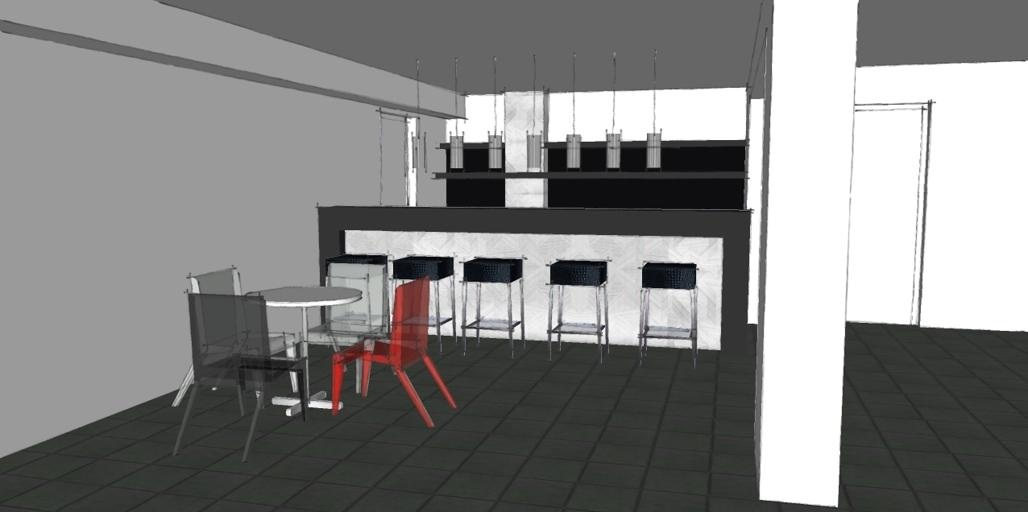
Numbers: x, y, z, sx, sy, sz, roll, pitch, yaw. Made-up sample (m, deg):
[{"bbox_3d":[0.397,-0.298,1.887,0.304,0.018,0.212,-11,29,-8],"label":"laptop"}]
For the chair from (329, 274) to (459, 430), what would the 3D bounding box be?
[{"bbox_3d":[-1.274,0.988,7.331,1.114,1.521,0.841,1,7,22],"label":"chair"}]

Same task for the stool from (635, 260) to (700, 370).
[{"bbox_3d":[1.908,0.690,8.630,0.741,1.225,0.608,0,7,11],"label":"stool"}]

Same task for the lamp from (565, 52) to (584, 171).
[{"bbox_3d":[0.753,-1.903,9.053,0.292,1.356,0.250,4,16,13],"label":"lamp"}]

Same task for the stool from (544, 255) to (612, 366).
[{"bbox_3d":[0.800,0.663,8.820,0.809,1.227,0.704,-1,6,6],"label":"stool"}]

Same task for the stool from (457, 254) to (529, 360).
[{"bbox_3d":[-0.297,0.630,8.989,0.854,1.217,0.742,-1,6,4],"label":"stool"}]

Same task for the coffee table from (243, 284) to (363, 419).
[{"bbox_3d":[-2.264,1.012,7.546,1.586,1.245,1.489,7,-13,-34],"label":"coffee table"}]
